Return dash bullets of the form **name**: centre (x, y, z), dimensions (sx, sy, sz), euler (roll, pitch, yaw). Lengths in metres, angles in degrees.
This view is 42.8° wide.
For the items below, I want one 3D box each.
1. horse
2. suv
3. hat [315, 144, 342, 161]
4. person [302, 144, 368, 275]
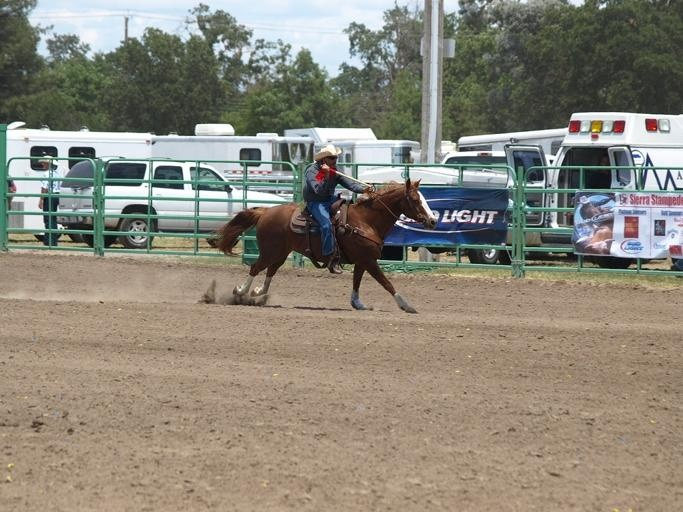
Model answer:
- **horse**: centre (-0.255, -0.123, 13.299), dimensions (4.030, 1.910, 0.856), euler (4, 4, 32)
- **suv**: centre (-3.572, -1.172, 18.836), dimensions (4.886, 1.562, 2.081), euler (-2, 5, -12)
- **hat**: centre (-0.164, -1.500, 12.678), dimensions (0.401, 0.123, 0.367), euler (-5, 1, 20)
- **person**: centre (-0.130, -0.719, 12.887), dimensions (0.741, 1.838, 0.658), euler (-13, 20, -41)
